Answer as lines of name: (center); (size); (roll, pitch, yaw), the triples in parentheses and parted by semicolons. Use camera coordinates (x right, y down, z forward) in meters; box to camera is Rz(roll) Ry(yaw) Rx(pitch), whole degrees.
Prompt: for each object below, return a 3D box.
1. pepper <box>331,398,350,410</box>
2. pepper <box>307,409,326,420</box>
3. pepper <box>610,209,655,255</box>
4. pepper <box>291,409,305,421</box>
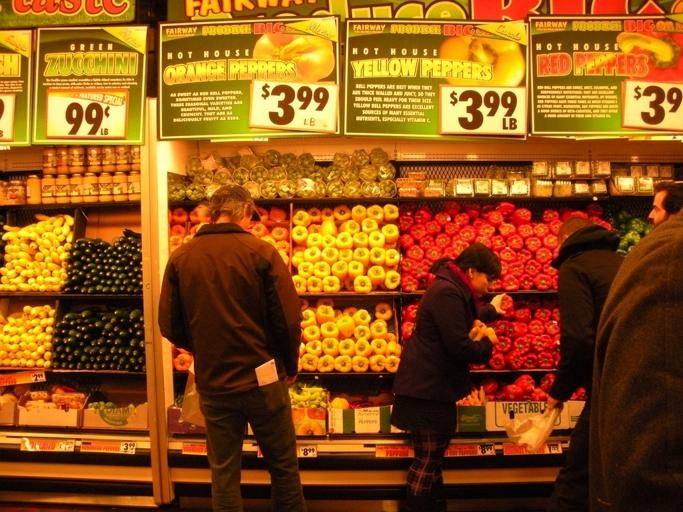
pepper: (-0.020, 1.381, 5.822); (0.133, 0.111, 0.105); (-2, -6, -18)
pepper: (-0.220, 1.427, 5.603); (0.101, 0.107, 0.039); (-2, 36, 10)
pepper: (2.416, -0.197, 5.186); (0.306, 0.266, 0.351); (7, 41, 11)
pepper: (-0.398, 1.431, 5.619); (0.107, 0.115, 0.102); (5, -11, -30)
